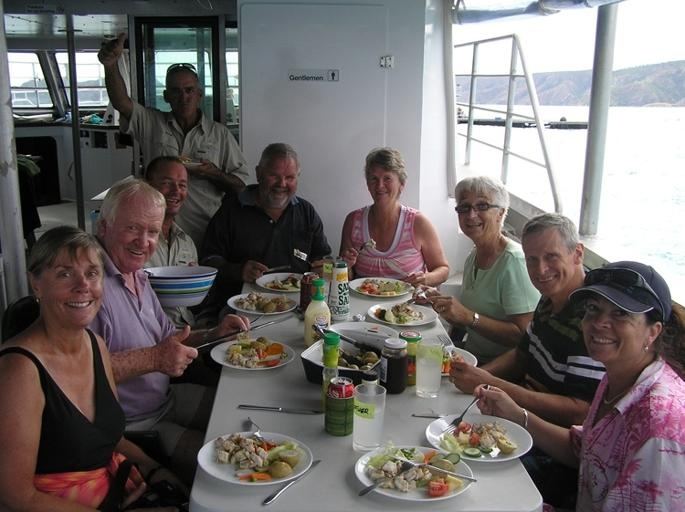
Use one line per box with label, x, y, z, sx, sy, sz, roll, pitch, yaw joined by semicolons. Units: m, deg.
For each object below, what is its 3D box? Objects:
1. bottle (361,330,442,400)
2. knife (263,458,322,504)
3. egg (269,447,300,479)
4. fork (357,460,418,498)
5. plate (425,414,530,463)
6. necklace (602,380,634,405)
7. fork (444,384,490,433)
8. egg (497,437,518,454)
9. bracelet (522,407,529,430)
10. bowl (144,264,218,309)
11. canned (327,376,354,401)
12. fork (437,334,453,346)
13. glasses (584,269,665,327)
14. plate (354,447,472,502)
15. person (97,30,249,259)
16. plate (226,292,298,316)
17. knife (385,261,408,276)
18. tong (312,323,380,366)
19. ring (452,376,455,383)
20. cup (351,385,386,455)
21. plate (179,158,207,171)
bottle;0.205;0.385;1.820;0.270;0.243;0.153;2;6;1
knife;-0.136;0.594;1.306;0.024;0.012;0.220;29;26;25
egg;-0.156;0.560;1.348;0.043;0.029;0.065;8;21;-2
fork;0.107;0.579;1.291;0.175;0.009;0.056;-28;37;-32
plate;0.403;0.538;1.482;0.249;0.030;0.257;-6;16;14
necklace;0.865;0.429;1.573;0.028;0.070;0.049;35;7;-37
fork;0.409;0.503;1.622;0.027;0.022;0.191;16;31;29
egg;0.478;0.549;1.446;0.055;0.028;0.052;3;13;18
bracelet;0.602;0.536;1.632;0.012;0.047;0.038;-3;-10;9
bowl;-0.764;0.132;2.343;0.243;0.112;0.247;1;4;0
canned;-0.006;0.398;1.495;0.060;0.059;0.062;2;13;9
fork;0.421;0.327;2.055;0.045;0.049;0.175;7;2;7
glasses;0.862;0.104;1.518;0.202;0.112;0.144;25;-3;-11
plate;0.186;0.575;1.260;0.337;0.034;0.344;7;-37;-26
person;-1.262;-0.528;3.810;1.063;2.027;0.570;-3;12;-24
plate;-0.390;0.241;2.472;0.181;0.026;0.178;-2;19;-33
knife;0.323;0.075;3.066;0.130;0.093;0.035;1;13;9
tong;0.010;0.329;1.841;0.224;0.083;0.125;23;12;1
ring;0.395;0.441;1.769;0.005;0.020;0.019;1;-3;-37
cup;0.072;0.472;1.459;0.096;0.171;0.093;-1;13;0
plate;-1.053;-0.651;3.422;0.094;0.055;0.126;2;-6;32
